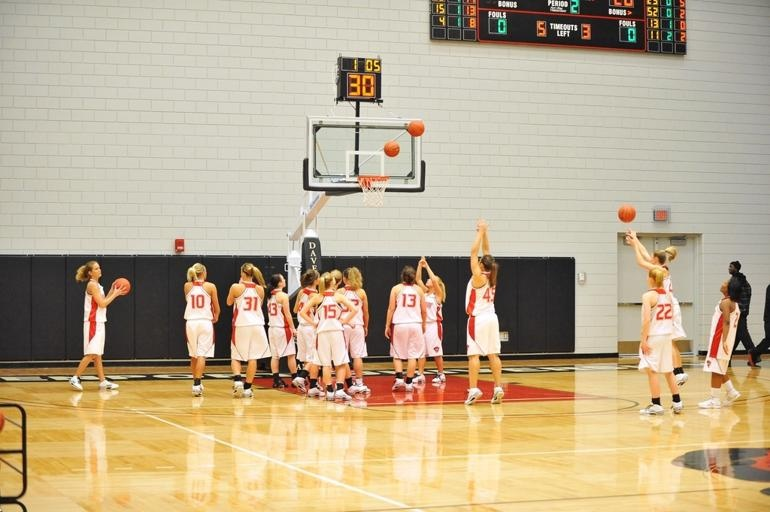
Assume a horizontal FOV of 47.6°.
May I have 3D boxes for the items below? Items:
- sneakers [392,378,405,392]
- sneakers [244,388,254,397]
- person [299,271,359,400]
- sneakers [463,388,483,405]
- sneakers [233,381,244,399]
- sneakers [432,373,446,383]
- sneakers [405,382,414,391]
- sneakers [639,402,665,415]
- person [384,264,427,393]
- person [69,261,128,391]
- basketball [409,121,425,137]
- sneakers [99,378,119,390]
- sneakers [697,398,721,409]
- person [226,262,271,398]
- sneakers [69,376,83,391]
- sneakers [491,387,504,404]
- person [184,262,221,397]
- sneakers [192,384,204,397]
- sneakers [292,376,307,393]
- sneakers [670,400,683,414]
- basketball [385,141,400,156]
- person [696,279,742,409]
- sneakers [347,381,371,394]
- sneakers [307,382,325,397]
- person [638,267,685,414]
[{"bbox_3d":[0.249,2.362,16.101,0.235,0.249,0.289,-1,3,2],"label":"sneakers"},{"bbox_3d":[-2.402,2.430,15.440,0.168,0.165,0.123,4,-6,-3],"label":"sneakers"},{"bbox_3d":[-0.951,1.397,15.182,0.902,2.201,0.456,-2,3,-3],"label":"person"},{"bbox_3d":[1.456,2.371,14.683,0.162,0.197,0.456,-6,-27,-31],"label":"sneakers"},{"bbox_3d":[-2.571,2.341,15.317,0.163,0.292,0.151,-2,3,-11],"label":"sneakers"},{"bbox_3d":[1.082,2.440,17.300,0.129,0.171,0.364,-4,-5,32],"label":"sneakers"},{"bbox_3d":[0.460,2.439,16.146,0.113,0.125,0.144,0,-10,0],"label":"sneakers"},{"bbox_3d":[4.235,2.440,13.946,0.417,0.201,0.168,2,0,9],"label":"sneakers"},{"bbox_3d":[0.394,1.350,16.145,0.709,2.257,0.464,-2,3,-4],"label":"person"},{"bbox_3d":[-5.400,1.292,16.218,0.903,2.353,0.882,-3,3,-20],"label":"person"},{"bbox_3d":[0.549,-2.334,15.845,0.268,0.291,0.447,-1,3,-1],"label":"basketball"},{"bbox_3d":[-5.105,2.374,16.152,0.308,0.142,0.183,0,0,8],"label":"sneakers"},{"bbox_3d":[5.391,2.461,14.534,0.322,0.137,0.173,1,-3,9],"label":"sneakers"},{"bbox_3d":[-2.443,1.313,15.603,0.715,2.320,0.632,-3,3,-26],"label":"person"},{"bbox_3d":[-5.664,2.337,16.050,0.205,0.272,0.419,-3,3,-20],"label":"sneakers"},{"bbox_3d":[1.917,2.379,14.787,0.152,0.177,0.393,2,-13,-5],"label":"sneakers"},{"bbox_3d":[-3.257,1.315,15.615,0.589,2.311,0.631,-3,3,-23],"label":"person"},{"bbox_3d":[-3.321,2.369,15.460,0.173,0.225,0.350,-2,3,-14],"label":"sneakers"},{"bbox_3d":[-1.589,2.343,15.955,0.400,0.183,0.162,13,0,26],"label":"sneakers"},{"bbox_3d":[4.694,2.437,14.009,0.141,0.223,0.225,1,-8,-13],"label":"sneakers"},{"bbox_3d":[0.117,-1.942,15.770,0.259,0.257,0.254,12,-25,3],"label":"basketball"},{"bbox_3d":[5.518,1.445,14.429,0.562,2.139,0.605,0,3,20],"label":"person"},{"bbox_3d":[-0.486,2.362,15.465,0.328,0.148,0.177,-5,-6,28],"label":"sneakers"},{"bbox_3d":[-1.212,2.409,15.711,0.158,0.157,0.372,1,1,14],"label":"sneakers"},{"bbox_3d":[4.317,1.366,13.825,0.761,2.343,0.364,-3,4,-27],"label":"person"}]
